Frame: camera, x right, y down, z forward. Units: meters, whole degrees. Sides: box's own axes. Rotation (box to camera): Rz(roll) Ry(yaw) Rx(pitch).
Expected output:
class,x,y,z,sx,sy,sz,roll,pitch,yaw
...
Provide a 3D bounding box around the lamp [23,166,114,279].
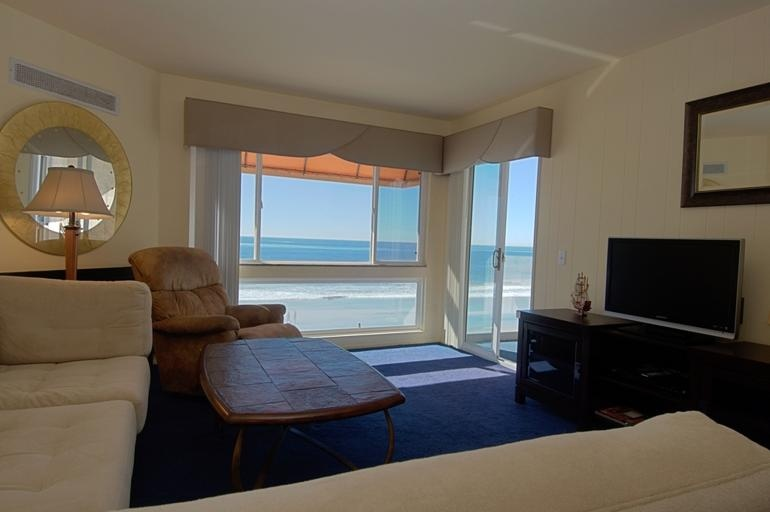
class,x,y,z,sx,sy,sz,roll,pitch,yaw
lamp,-2.597,-0.267,4.241,0.555,0.920,0.602,-11,16,-32
